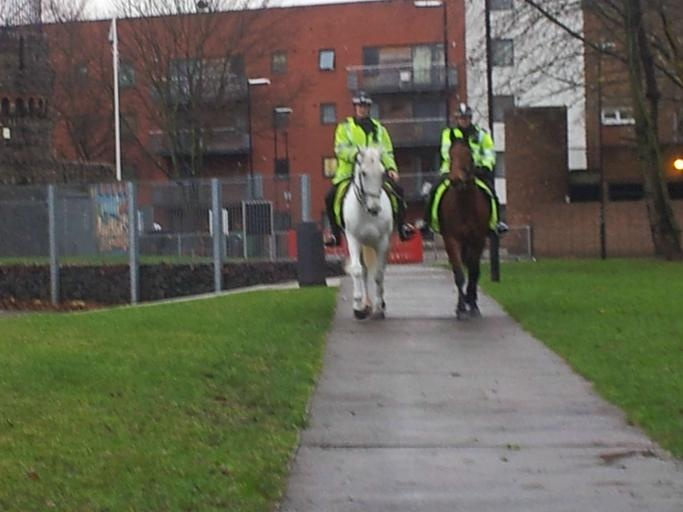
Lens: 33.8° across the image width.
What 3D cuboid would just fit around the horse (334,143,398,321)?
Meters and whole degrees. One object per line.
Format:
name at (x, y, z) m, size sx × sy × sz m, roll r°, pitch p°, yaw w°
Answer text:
horse at (0.445, -0.404, 20.461) m, size 1.000 × 3.231 × 1.780 m, roll -1°, pitch 9°, yaw -3°

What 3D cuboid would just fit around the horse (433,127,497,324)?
horse at (2.226, -0.582, 20.724) m, size 1.206 × 3.280 × 1.539 m, roll 1°, pitch 9°, yaw 7°
